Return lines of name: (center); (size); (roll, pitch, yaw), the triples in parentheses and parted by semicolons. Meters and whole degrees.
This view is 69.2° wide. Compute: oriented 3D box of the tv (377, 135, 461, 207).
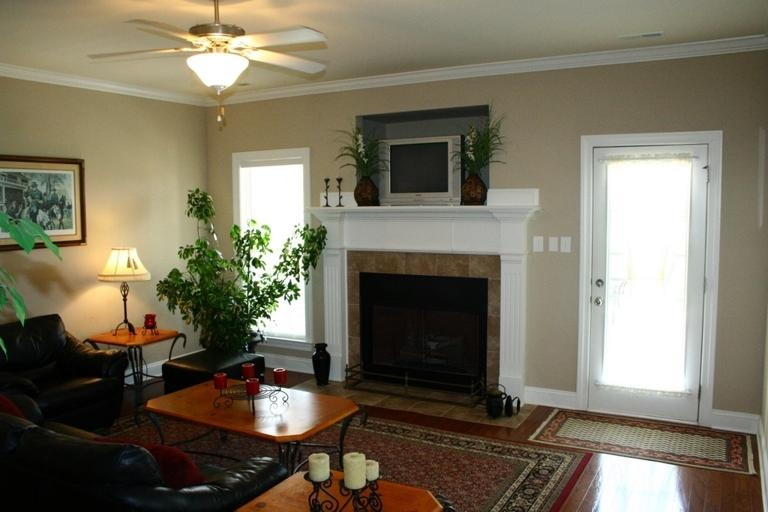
tv: (0.460, -0.932, 6.482); (1.268, 0.986, 0.708); (2, 5, 22)

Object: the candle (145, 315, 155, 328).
candle: (-2.602, 0.733, 6.170); (0.129, 0.148, 0.091); (3, -9, -28)

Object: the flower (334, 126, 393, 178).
flower: (-0.248, -1.166, 6.535); (0.628, 0.488, 0.603); (0, 3, -26)

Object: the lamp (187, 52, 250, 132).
lamp: (-1.103, -1.090, 3.828); (0.541, 0.562, 0.546); (0, 1, -13)

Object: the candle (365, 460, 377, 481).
candle: (-0.064, 1.197, 3.085); (0.067, 0.144, 0.115); (-1, 12, 1)

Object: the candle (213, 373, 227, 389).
candle: (-1.386, 1.064, 4.777); (0.132, 0.132, 0.126); (0, -3, 44)

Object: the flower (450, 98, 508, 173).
flower: (1.032, -1.194, 5.849); (0.597, 0.699, 0.707); (-3, 6, -39)

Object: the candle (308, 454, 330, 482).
candle: (-0.337, 1.154, 3.070); (0.152, 0.156, 0.145); (1, -2, -1)

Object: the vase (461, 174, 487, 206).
vase: (0.959, -0.708, 5.867); (0.279, 0.335, 0.214); (1, 12, 7)

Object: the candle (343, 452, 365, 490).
candle: (-0.156, 1.149, 2.981); (0.112, 0.189, 0.090); (-1, 12, 1)
